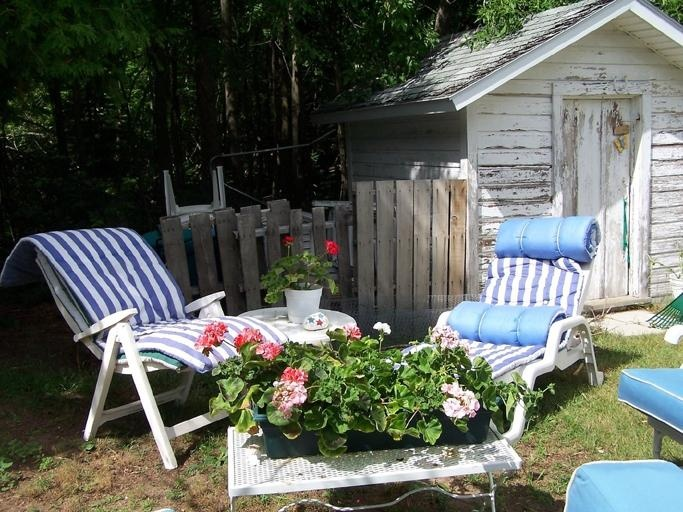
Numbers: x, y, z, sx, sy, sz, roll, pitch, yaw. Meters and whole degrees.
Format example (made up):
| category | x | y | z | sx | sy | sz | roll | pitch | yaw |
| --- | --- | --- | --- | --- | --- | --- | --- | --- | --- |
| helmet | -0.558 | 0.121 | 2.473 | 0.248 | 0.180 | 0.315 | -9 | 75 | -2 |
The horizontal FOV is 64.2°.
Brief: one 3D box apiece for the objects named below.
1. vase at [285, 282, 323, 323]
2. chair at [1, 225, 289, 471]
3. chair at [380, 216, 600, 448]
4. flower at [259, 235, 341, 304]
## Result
| category | x | y | z | sx | sy | sz | roll | pitch | yaw |
| --- | --- | --- | --- | --- | --- | --- | --- | --- | --- |
| vase | -0.337 | 0.439 | 4.917 | 0.318 | 0.258 | 0.300 | 1 | 1 | 2 |
| chair | -1.716 | 0.597 | 5.121 | 2.672 | 1.771 | 1.608 | 5 | 5 | 30 |
| chair | 1.557 | 0.466 | 5.286 | 2.194 | 1.550 | 1.299 | -17 | 15 | -40 |
| flower | -0.381 | 0.156 | 5.338 | 0.792 | 0.593 | 0.817 | 1 | 2 | 9 |
